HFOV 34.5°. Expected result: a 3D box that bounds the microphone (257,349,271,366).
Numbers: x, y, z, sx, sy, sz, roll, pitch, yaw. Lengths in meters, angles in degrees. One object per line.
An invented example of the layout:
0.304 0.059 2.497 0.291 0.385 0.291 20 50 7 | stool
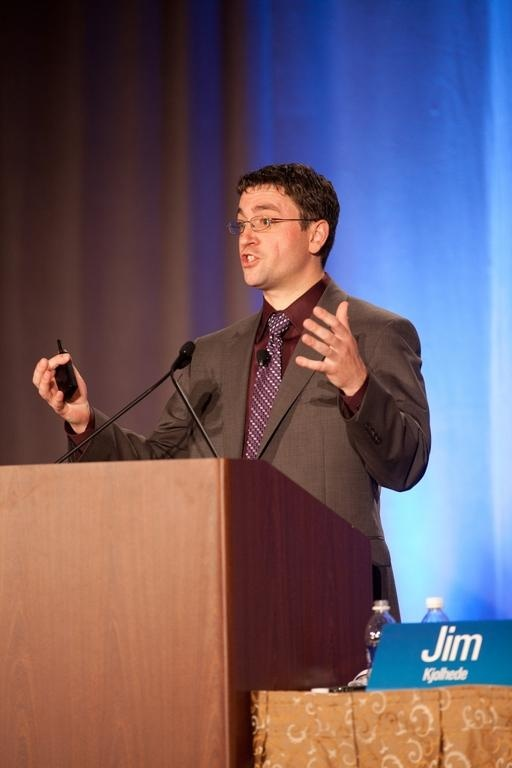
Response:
0.017 -0.058 1.773 0.028 0.045 0.025 4 -23 -15 | microphone

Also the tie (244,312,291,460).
0.029 0.003 1.772 0.063 0.376 0.046 7 -36 12 | tie
